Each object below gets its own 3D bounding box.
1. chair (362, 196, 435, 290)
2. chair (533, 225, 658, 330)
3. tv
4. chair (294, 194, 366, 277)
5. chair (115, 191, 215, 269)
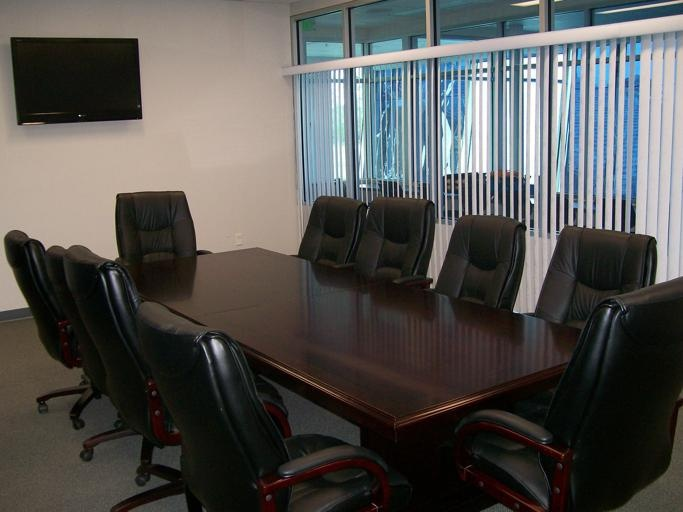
[{"bbox_3d":[0.444,-0.121,4.517,0.572,0.872,0.656,8,7,39],"label":"chair"},{"bbox_3d":[1.425,0.190,3.172,0.528,0.733,0.573,9,-5,30],"label":"chair"},{"bbox_3d":[-3.065,-2.037,6.488,1.317,0.933,0.145,-9,14,-27],"label":"tv"},{"bbox_3d":[-0.160,-0.019,4.839,0.521,0.859,0.682,12,15,17],"label":"chair"},{"bbox_3d":[-1.959,-0.355,5.910,0.715,1.108,0.847,-7,8,-28],"label":"chair"}]
